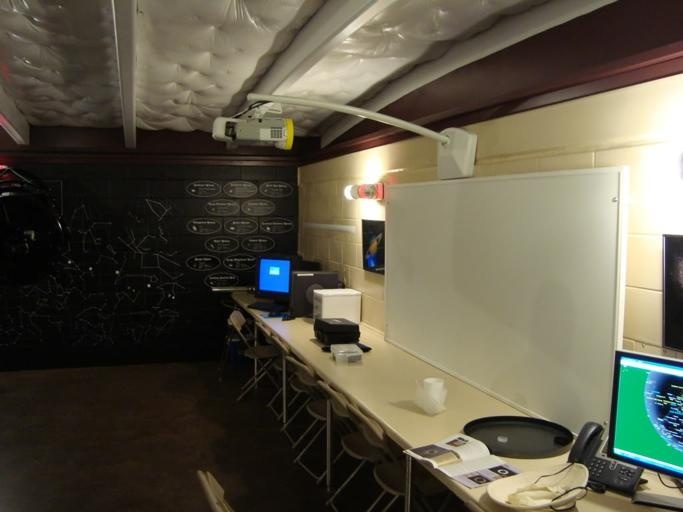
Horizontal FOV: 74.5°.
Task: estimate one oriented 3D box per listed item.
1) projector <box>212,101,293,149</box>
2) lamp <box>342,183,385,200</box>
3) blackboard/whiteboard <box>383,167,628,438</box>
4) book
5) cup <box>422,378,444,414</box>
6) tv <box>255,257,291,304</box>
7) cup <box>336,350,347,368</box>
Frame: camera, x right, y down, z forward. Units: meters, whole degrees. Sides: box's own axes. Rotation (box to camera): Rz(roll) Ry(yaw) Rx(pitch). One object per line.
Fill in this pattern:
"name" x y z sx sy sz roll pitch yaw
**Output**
"projector" -0.591 -0.907 3.057 0.517 0.285 0.189 0 10 -17
"lamp" 0.209 -0.581 3.999 0.162 0.162 0.406 21 -9 -37
"blackboard/whiteboard" 0.846 0.152 2.733 0.073 1.252 1.784 0 4 -32
"book" 0.544 0.907 2.000 0.345 0.042 0.402 -6 10 -34
"cup" 0.508 0.747 2.475 0.163 0.209 0.157 -2 4 0
"tv" -0.866 0.243 5.344 0.522 0.524 0.307 3 -9 -39
"cup" 0.001 0.741 3.223 0.083 0.084 0.084 1 8 0
